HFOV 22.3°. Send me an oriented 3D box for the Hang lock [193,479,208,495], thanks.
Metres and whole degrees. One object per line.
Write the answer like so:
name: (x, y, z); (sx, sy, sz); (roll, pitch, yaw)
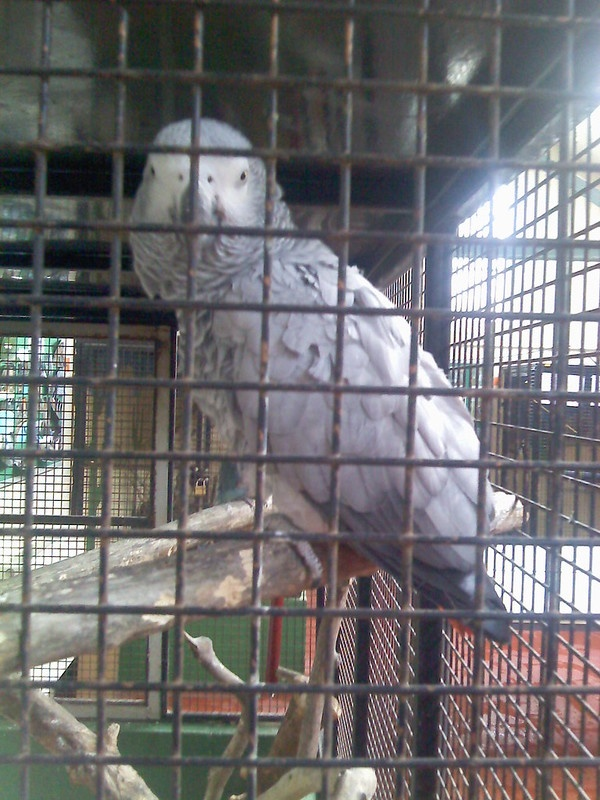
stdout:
Hang lock: (-0.222, 0.188, 3.276); (0.026, 0.050, 0.033); (-3, -19, 13)
